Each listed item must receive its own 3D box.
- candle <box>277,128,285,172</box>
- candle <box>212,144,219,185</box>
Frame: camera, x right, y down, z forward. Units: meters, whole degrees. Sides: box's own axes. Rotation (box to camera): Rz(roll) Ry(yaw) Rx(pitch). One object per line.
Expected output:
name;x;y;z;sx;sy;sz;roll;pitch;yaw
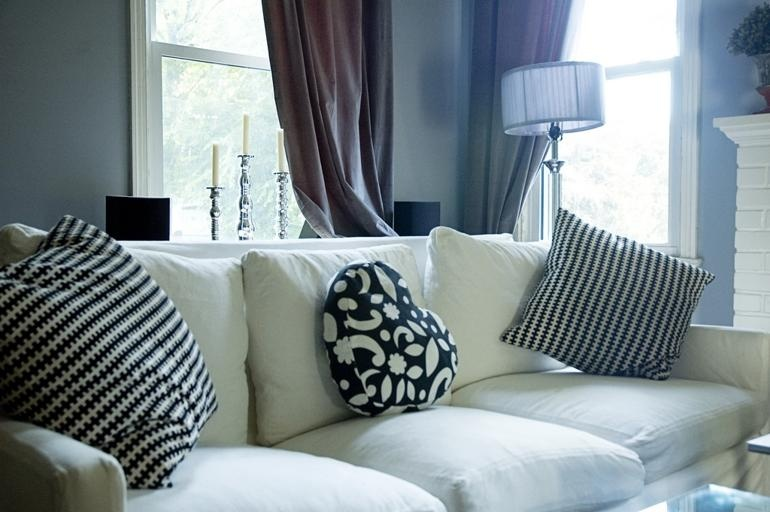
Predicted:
candle;-0.499;-0.502;3.390;0.042;0.206;0.211;1;1;-9
candle;-0.743;-0.399;3.074;0.016;0.186;0.017;1;2;-13
